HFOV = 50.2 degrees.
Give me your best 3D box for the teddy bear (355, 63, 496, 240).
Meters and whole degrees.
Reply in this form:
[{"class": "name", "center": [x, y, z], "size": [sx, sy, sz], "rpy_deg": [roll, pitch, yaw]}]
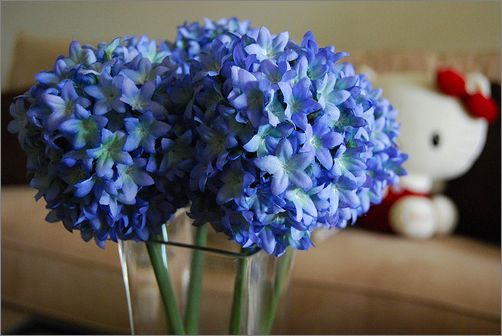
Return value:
[{"class": "teddy bear", "center": [0.474, -0.035, 1.404], "size": [0.415, 0.482, 0.256], "rpy_deg": [5, -4, 16]}]
